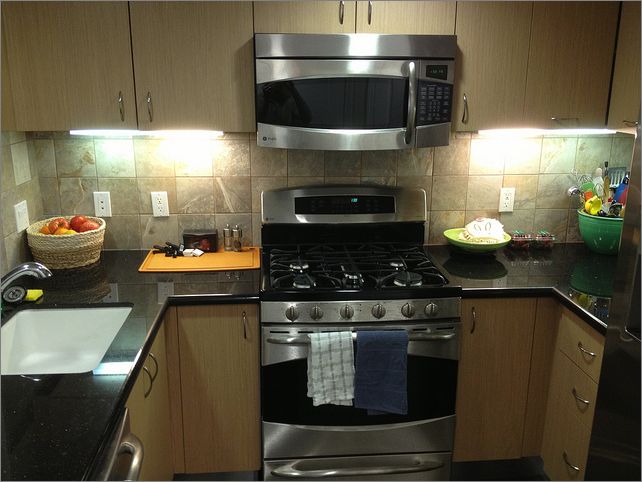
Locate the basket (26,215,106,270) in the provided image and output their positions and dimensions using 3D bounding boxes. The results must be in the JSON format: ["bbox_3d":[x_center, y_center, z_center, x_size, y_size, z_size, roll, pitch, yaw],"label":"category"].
[{"bbox_3d":[-1.308,0.026,2.462,0.354,0.222,0.237,2,16,14],"label":"basket"}]

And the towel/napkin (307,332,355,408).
[{"bbox_3d":[0.044,0.555,2.146,0.307,0.460,0.076,0,20,0],"label":"towel/napkin"}]

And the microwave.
[{"bbox_3d":[0.124,-0.705,1.994,0.823,0.509,0.542,0,15,-4],"label":"microwave"}]

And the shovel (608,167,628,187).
[{"bbox_3d":[1.712,-0.380,2.791,0.104,0.161,0.027,4,-1,9],"label":"shovel"}]

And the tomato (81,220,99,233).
[{"bbox_3d":[-1.188,-0.073,2.466,0.062,0.063,0.062,0,12,-27],"label":"tomato"}]

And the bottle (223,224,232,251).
[{"bbox_3d":[-0.515,-0.008,2.676,0.059,0.121,0.034,-2,15,0],"label":"bottle"}]

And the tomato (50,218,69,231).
[{"bbox_3d":[-1.318,-0.076,2.436,0.065,0.068,0.065,10,-6,-34],"label":"tomato"}]

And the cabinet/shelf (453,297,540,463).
[{"bbox_3d":[1.000,0.758,2.543,0.374,0.787,0.444,-5,-17,45],"label":"cabinet/shelf"}]

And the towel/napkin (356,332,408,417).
[{"bbox_3d":[0.267,0.585,2.250,0.230,0.366,0.085,1,5,0],"label":"towel/napkin"}]

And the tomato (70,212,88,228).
[{"bbox_3d":[-1.246,-0.109,2.491,0.063,0.068,0.065,-5,3,-9],"label":"tomato"}]

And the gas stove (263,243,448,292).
[{"bbox_3d":[0.149,0.119,2.416,0.874,0.093,0.569,-3,16,-5],"label":"gas stove"}]

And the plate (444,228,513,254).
[{"bbox_3d":[0.865,0.014,2.694,0.348,0.123,0.260,3,17,17],"label":"plate"}]

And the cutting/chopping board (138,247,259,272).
[{"bbox_3d":[-0.634,0.100,2.567,0.619,0.055,0.303,-4,16,-7],"label":"cutting/chopping board"}]
